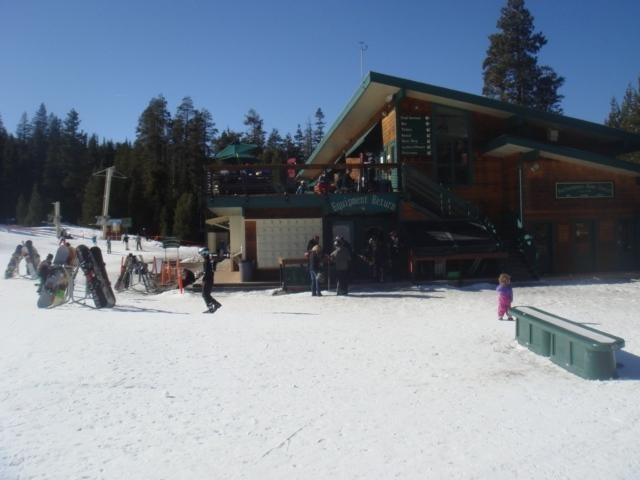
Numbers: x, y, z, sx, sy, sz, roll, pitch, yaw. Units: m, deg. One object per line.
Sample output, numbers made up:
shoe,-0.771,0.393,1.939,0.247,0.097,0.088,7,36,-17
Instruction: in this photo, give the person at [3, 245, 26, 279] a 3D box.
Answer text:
person,-16.166,1.204,32.514,0.434,1.491,0.531,6,-32,9

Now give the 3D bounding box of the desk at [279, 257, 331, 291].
desk,-0.930,1.296,24.812,1.070,1.394,1.876,-3,4,1

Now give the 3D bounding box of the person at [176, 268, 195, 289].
person,-5.603,1.623,25.813,0.853,0.913,0.590,-1,4,-21

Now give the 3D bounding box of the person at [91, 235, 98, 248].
person,-18.085,0.090,49.133,0.177,0.944,0.507,-4,13,-33

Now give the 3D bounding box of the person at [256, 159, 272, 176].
person,-2.306,-2.860,24.969,0.690,0.295,0.709,1,1,-8

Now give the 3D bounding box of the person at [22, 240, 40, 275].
person,-14.463,0.923,30.665,0.500,1.709,0.294,-2,1,-36
